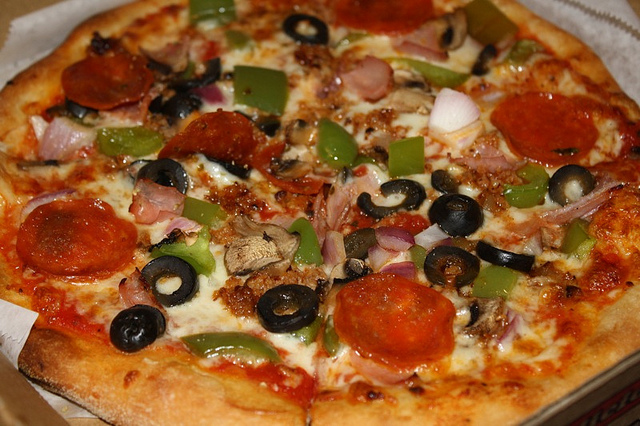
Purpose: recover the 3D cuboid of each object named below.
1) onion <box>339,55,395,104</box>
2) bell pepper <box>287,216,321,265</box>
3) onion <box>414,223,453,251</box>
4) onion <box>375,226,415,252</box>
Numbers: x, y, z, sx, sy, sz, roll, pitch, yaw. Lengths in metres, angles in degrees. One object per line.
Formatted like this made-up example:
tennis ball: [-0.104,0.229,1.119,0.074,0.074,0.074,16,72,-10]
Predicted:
onion: [0.472,-1.234,6.526,0.433,0.120,0.433,-39,72,-7]
bell pepper: [-0.106,0.225,5.667,0.239,0.088,0.354,-8,79,-4]
onion: [0.902,0.190,5.752,0.271,0.074,0.210,-27,59,-28]
onion: [0.606,0.204,5.647,0.286,0.099,0.167,9,68,-5]
